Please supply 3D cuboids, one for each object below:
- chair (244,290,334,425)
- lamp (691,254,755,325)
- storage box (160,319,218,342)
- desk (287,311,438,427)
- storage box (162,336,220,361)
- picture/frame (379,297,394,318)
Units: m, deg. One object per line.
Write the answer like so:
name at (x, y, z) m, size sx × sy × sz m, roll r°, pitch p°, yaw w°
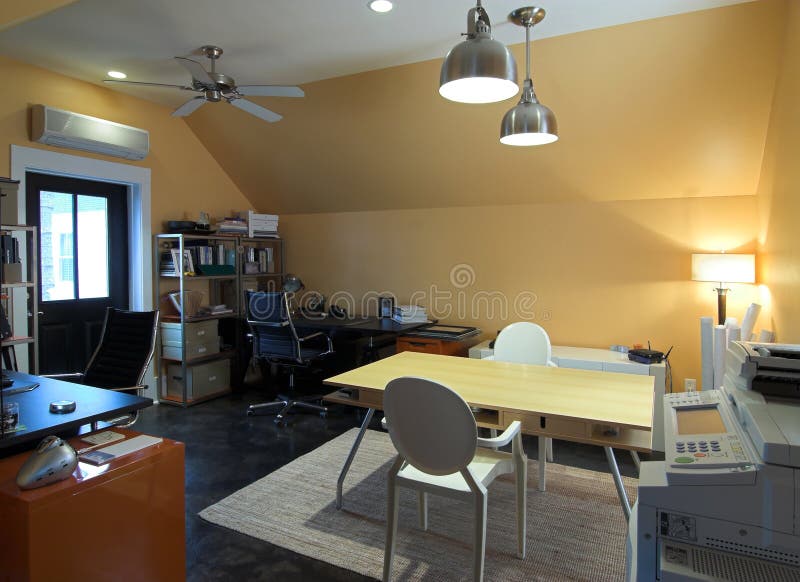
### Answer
chair at (-1.085, 0.567, 5.701) m, size 0.704 × 1.163 × 0.755 m, roll -3°, pitch 4°, yaw -41°
lamp at (2.612, -0.029, 4.869) m, size 0.468 × 0.559 × 0.448 m, roll 1°, pitch 3°, yaw 32°
storage box at (-2.144, 0.378, 6.010) m, size 0.236 × 0.160 × 0.319 m, roll 1°, pitch 2°, yaw 29°
desk at (-0.470, 0.845, 6.239) m, size 1.232 × 0.655 × 0.688 m, roll 4°, pitch 10°, yaw 32°
storage box at (-2.135, 0.587, 6.020) m, size 0.228 × 0.168 × 0.334 m, roll 0°, pitch 0°, yaw 27°
picture/frame at (-0.143, 0.169, 6.448) m, size 0.189 × 0.240 × 0.023 m, roll -2°, pitch -6°, yaw 37°
